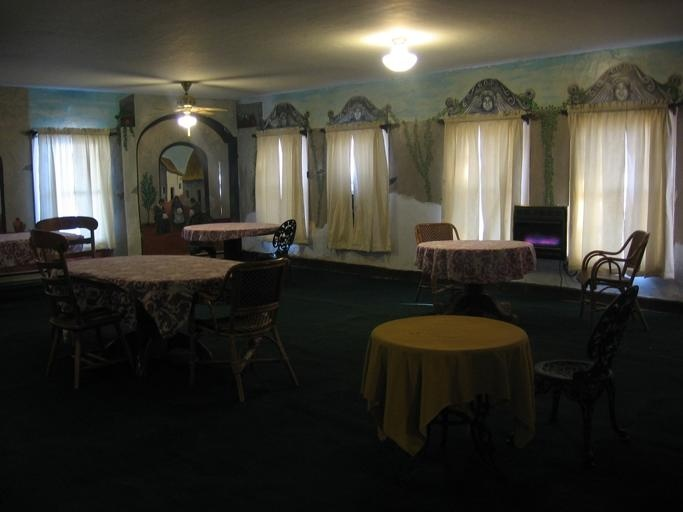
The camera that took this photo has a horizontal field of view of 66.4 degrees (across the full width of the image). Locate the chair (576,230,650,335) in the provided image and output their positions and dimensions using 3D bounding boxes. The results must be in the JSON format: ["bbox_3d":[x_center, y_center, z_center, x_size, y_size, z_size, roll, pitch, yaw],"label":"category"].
[{"bbox_3d":[2.841,0.203,5.493,0.586,0.909,0.588,0,8,16],"label":"chair"}]

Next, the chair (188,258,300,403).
[{"bbox_3d":[-0.781,0.495,4.023,0.744,1.021,0.730,4,7,19],"label":"chair"}]

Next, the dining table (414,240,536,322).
[{"bbox_3d":[1.448,0.236,5.875,1.234,0.881,1.312,-5,14,-15],"label":"dining table"}]

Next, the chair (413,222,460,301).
[{"bbox_3d":[1.175,-0.022,6.353,0.586,0.969,0.670,1,-12,-4],"label":"chair"}]

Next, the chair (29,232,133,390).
[{"bbox_3d":[-2.164,0.422,4.375,0.612,1.212,0.687,2,5,25],"label":"chair"}]

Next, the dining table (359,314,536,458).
[{"bbox_3d":[0.572,0.634,3.043,0.778,0.504,0.817,-1,2,-1],"label":"dining table"}]

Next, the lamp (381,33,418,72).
[{"bbox_3d":[0.613,-2.149,5.667,0.384,0.427,0.405,-1,8,-3],"label":"lamp"}]

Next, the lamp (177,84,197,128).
[{"bbox_3d":[-2.416,-2.322,8.097,0.234,0.720,1.092,-4,11,-15],"label":"lamp"}]

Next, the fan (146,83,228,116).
[{"bbox_3d":[-2.335,-2.492,8.111,1.052,0.466,1.226,-10,23,-1],"label":"fan"}]

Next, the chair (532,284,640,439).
[{"bbox_3d":[1.538,0.643,3.324,0.524,1.003,0.676,6,12,31],"label":"chair"}]
